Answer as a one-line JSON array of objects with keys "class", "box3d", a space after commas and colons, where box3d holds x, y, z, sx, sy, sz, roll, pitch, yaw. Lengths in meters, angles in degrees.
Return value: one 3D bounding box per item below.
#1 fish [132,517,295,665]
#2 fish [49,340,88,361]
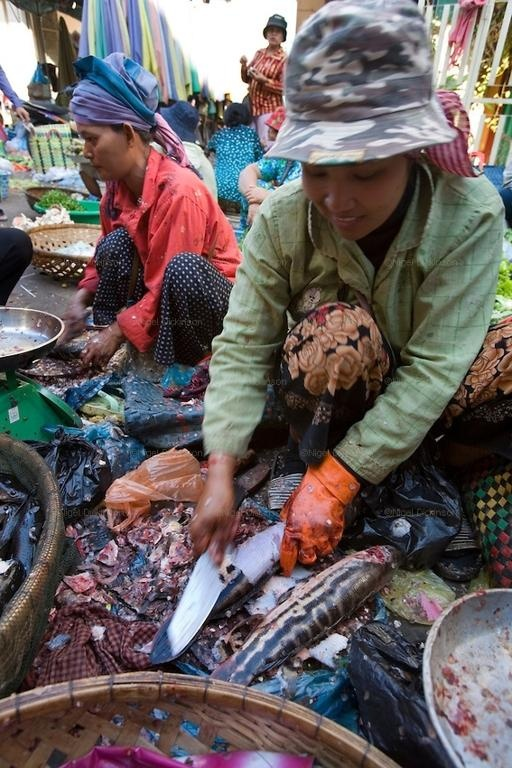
[{"class": "fish", "box3d": [-0.056, 0.461, 1.350, 0.146, 0.172, 0.494, 46, 54, 2]}, {"class": "fish", "box3d": [-0.906, -0.162, 2.599, 0.132, 0.050, 0.079, -20, 14, 20]}]
